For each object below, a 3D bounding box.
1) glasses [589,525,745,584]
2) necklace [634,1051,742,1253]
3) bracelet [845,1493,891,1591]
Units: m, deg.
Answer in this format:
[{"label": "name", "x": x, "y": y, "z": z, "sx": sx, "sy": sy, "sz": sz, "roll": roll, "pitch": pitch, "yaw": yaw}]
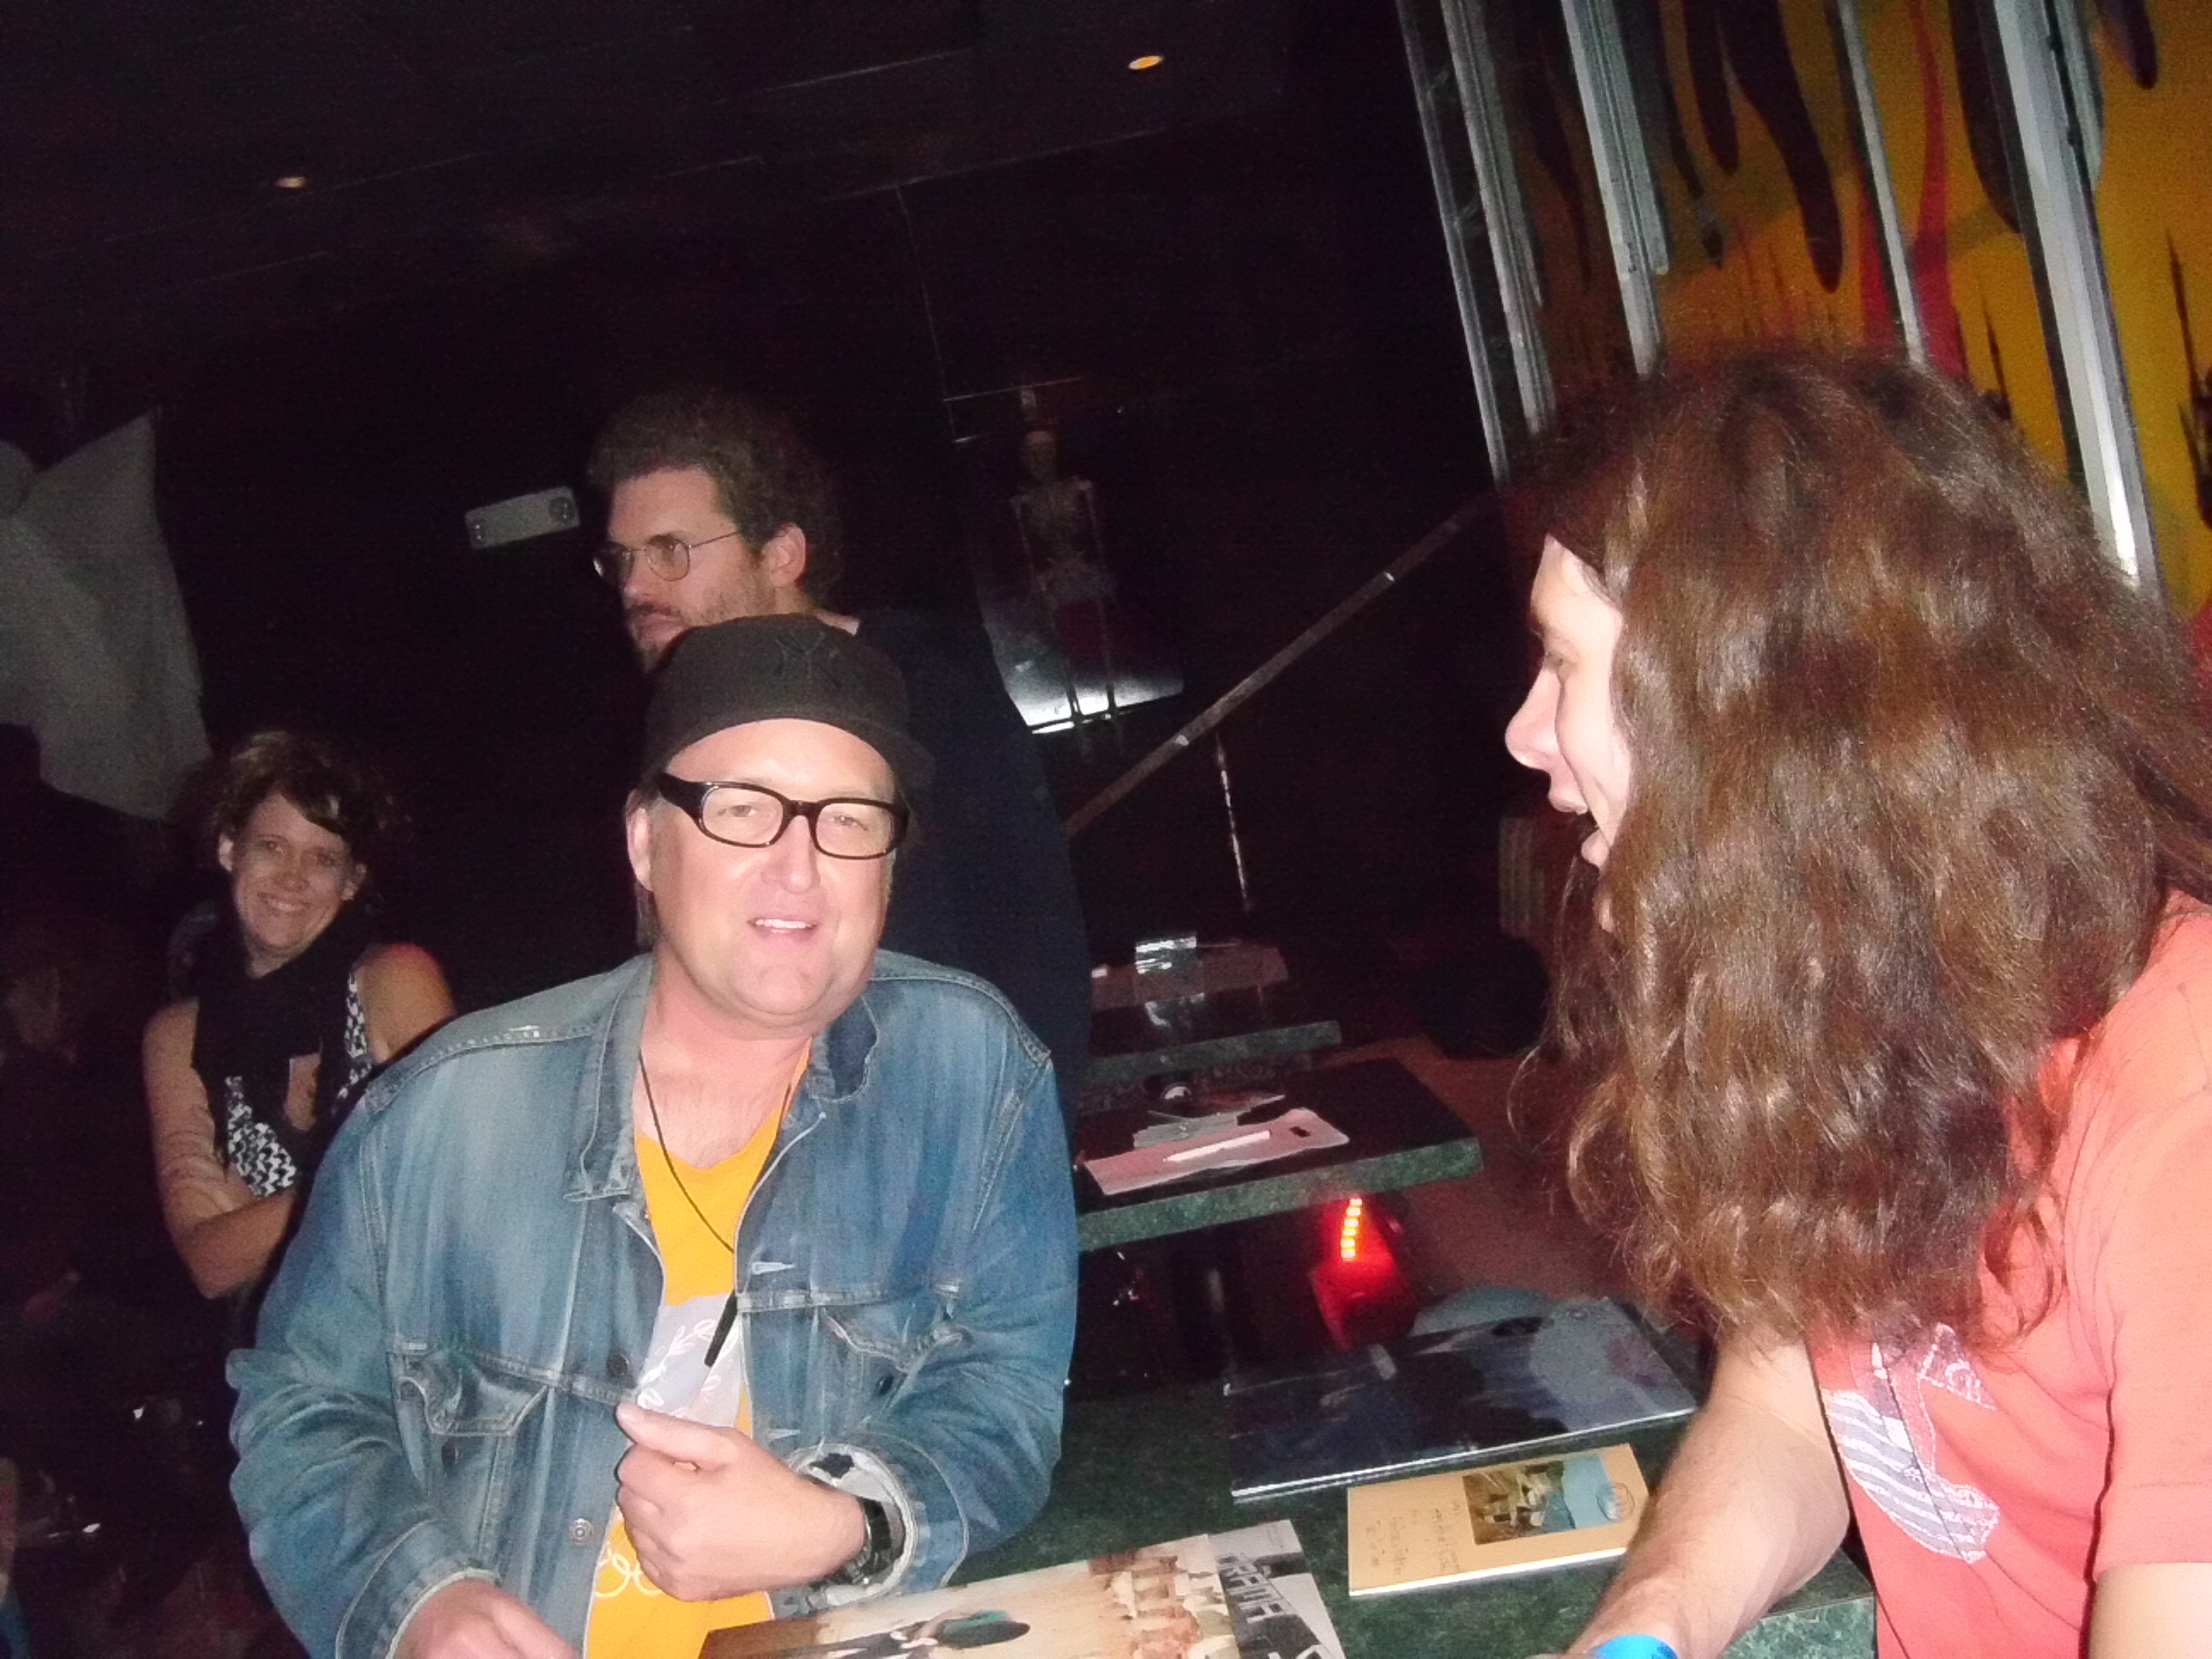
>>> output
[{"label": "glasses", "x": -0.807, "y": -0.477, "z": 3.224, "sx": 0.135, "sy": 0.047, "sz": 0.146, "roll": -5, "pitch": 16, "yaw": 32}, {"label": "necklace", "x": -0.583, "y": 0.474, "z": 2.526, "sx": 0.083, "sy": 0.297, "sz": 0.020, "roll": -26, "pitch": -3, "yaw": -4}, {"label": "bracelet", "x": -0.276, "y": 0.886, "z": 2.163, "sx": 0.054, "sy": 0.079, "sz": 0.084, "roll": 9, "pitch": -2, "yaw": -11}]
